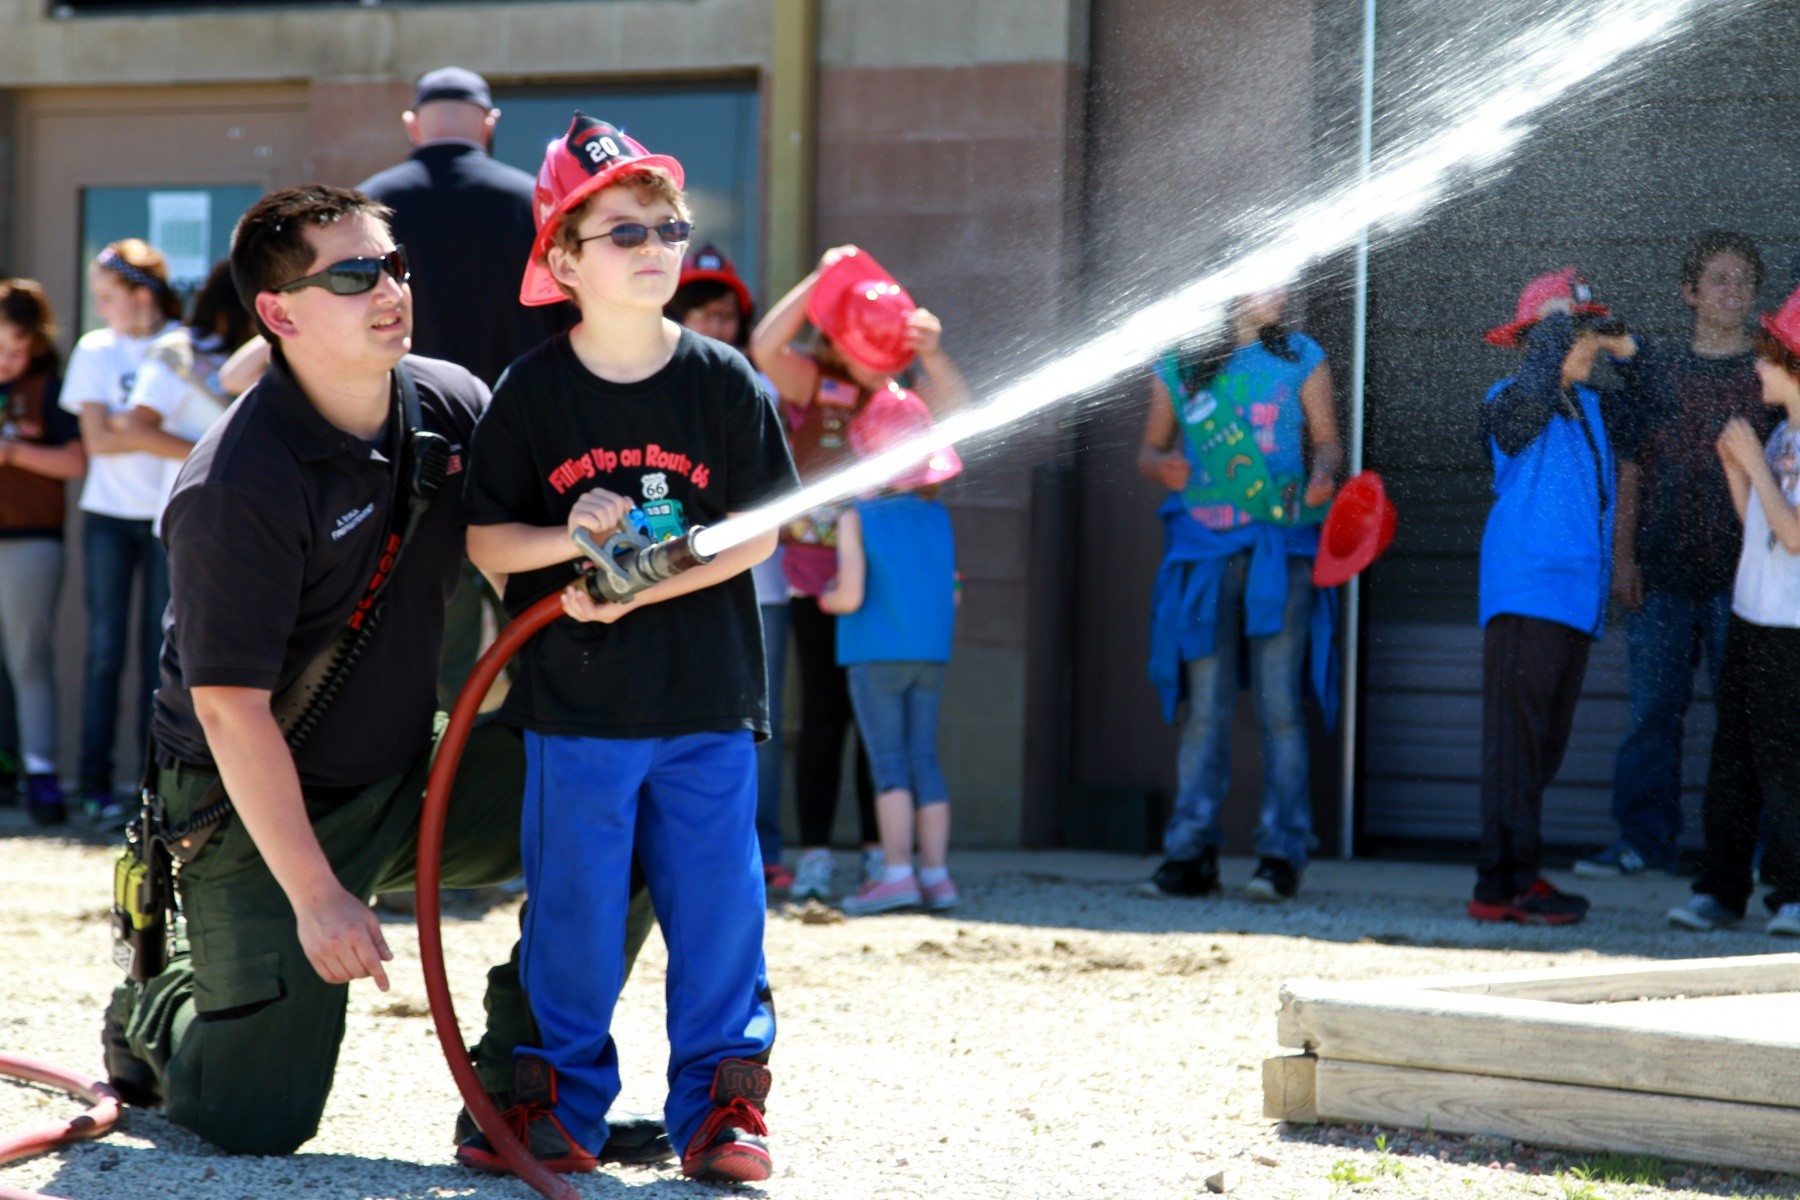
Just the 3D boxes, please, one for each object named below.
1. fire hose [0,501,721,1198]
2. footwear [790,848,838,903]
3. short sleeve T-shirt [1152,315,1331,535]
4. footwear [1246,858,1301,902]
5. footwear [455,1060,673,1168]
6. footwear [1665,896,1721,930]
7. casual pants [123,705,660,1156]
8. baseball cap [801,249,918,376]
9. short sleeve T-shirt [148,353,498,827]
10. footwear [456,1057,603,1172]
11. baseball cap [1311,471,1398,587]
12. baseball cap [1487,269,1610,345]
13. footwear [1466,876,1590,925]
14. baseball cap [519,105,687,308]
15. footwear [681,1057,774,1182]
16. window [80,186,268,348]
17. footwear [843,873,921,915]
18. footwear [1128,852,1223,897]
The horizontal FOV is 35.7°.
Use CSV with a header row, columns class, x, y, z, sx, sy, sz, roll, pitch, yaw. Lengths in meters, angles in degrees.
class,x,y,z,sx,sy,sz,roll,pitch,yaw
fire hose,-2.064,0.907,8.621,1.693,2.069,1.855,13,-19,-41
footwear,-0.328,1.080,10.724,0.179,0.187,0.430,2,-3,-1
short sleeve T-shirt,1.301,-0.635,10.618,0.600,0.733,0.263,1,12,5
footwear,1.422,1.071,10.616,0.197,0.162,0.182,1,12,4
footwear,-0.910,1.512,8.168,0.744,0.315,0.240,3,1,-4
footwear,2.904,1.157,10.172,0.215,0.085,0.088,7,-4,-27
casual pants,-1.312,0.863,8.577,1.595,1.654,1.011,12,27,-7
baseball cap,-0.144,-1.042,10.160,0.396,0.485,0.300,-1,12,-3
short sleeve T-shirt,-1.664,0.007,8.183,0.653,1.049,1.317,25,28,39
footwear,-1.101,1.521,8.076,0.200,0.343,0.510,-23,-24,39
baseball cap,1.686,-0.240,10.469,0.289,0.463,0.236,4,13,19
baseball cap,2.378,-1.097,10.431,0.410,0.159,0.325,-22,7,33
footwear,2.323,1.115,10.256,0.441,0.198,0.163,-4,-10,18
baseball cap,-0.910,-1.311,8.326,0.441,0.264,0.621,-27,4,-10
footwear,-0.500,1.518,8.025,0.254,0.336,0.187,-1,12,-5
window,-3.369,-1.508,12.755,0.087,0.994,1.088,16,17,41
footwear,-0.054,1.112,10.462,0.346,0.137,0.125,-3,-9,16
footwear,1.078,1.075,10.729,0.386,0.151,0.123,2,-3,-27
